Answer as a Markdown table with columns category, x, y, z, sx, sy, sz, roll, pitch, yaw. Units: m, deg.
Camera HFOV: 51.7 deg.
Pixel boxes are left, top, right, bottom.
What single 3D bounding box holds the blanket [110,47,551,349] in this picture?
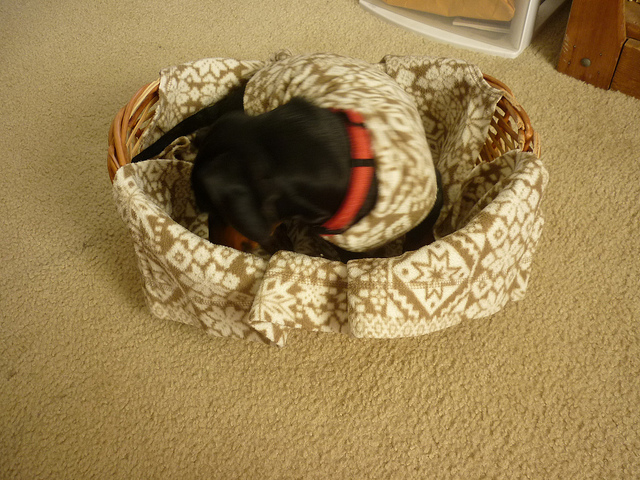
| category | x | y | z | sx | sy | sz | roll | pitch | yaw |
| --- | --- | --- | --- | --- | --- | --- | --- | --- | --- |
| blanket | 0.030 | 0.008 | 1.307 | 0.662 | 0.282 | 0.709 | 2 | 59 | 0 |

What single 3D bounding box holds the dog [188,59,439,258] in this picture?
| category | x | y | z | sx | sy | sz | roll | pitch | yaw |
| --- | --- | --- | --- | --- | --- | --- | --- | --- | --- |
| dog | -0.008 | -0.163 | 1.198 | 0.390 | 0.171 | 0.384 | -1 | 84 | 2 |
